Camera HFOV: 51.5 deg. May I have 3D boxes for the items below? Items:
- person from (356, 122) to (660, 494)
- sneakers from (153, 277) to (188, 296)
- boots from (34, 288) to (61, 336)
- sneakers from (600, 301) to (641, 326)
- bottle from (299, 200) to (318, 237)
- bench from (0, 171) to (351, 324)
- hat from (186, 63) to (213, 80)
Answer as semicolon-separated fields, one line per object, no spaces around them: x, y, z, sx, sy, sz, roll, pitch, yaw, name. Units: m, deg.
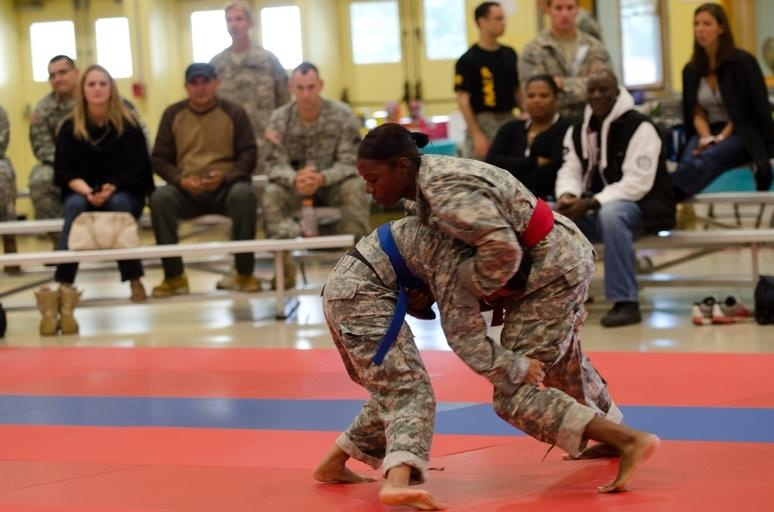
0.467;0.217;3.459;1.090;1.495;0.867;-3;3;7;person
-1.592;0.227;5.921;0.294;0.128;0.118;0;-1;-18;sneakers
-2.434;0.401;5.850;0.177;0.333;0.499;-6;-2;-12;boots
1.533;0.382;5.285;0.332;0.141;0.117;1;-2;-40;sneakers
-0.590;-0.278;5.942;0.147;0.291;0.139;1;30;-1;bottle
-1.558;-0.125;6.537;2.548;0.996;2.017;-3;11;-3;bench
-1.396;-1.375;5.997;0.233;0.133;0.162;-9;13;-31;hat
